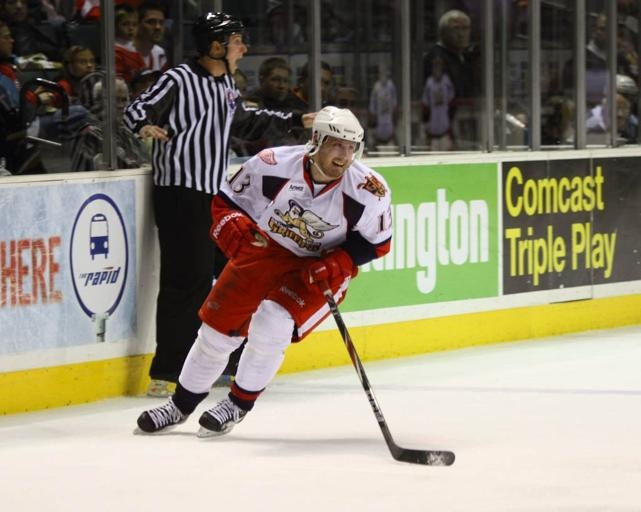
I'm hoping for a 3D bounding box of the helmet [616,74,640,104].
[{"bbox_3d":[2.318,-1.290,7.321,0.213,0.136,0.110,12,22,-6],"label":"helmet"}]

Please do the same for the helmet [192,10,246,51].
[{"bbox_3d":[-0.571,-1.246,5.406,0.234,0.226,0.192,-15,8,1],"label":"helmet"}]

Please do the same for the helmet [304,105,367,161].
[{"bbox_3d":[0.084,-0.582,4.428,0.204,0.258,0.259,10,-26,-23],"label":"helmet"}]

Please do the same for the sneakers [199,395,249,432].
[{"bbox_3d":[-0.460,0.764,4.695,0.108,0.125,0.288,16,13,21],"label":"sneakers"}]

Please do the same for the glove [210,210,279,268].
[{"bbox_3d":[-0.375,-0.095,4.474,0.274,0.212,0.178,0,9,-4],"label":"glove"}]
